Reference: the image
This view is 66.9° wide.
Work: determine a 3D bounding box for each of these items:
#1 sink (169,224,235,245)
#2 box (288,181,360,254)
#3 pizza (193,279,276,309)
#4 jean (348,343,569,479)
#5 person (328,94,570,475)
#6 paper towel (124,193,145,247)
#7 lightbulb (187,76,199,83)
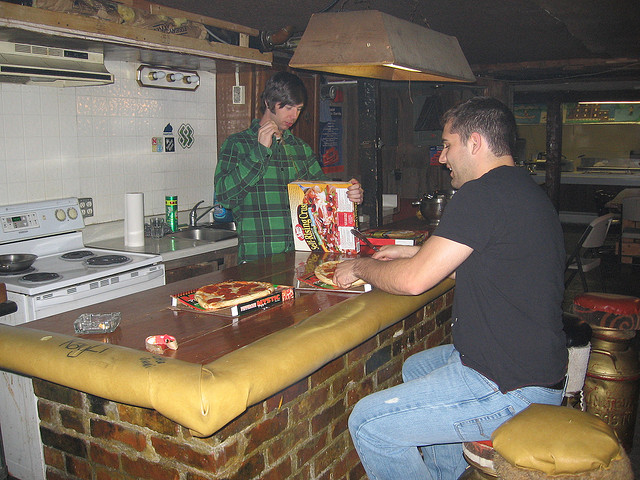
[{"bbox_3d":[-1.090,-0.046,4.356,0.240,0.105,0.298,6,9,35],"label":"sink"},{"bbox_3d":[0.041,-0.146,3.027,0.478,0.412,0.149,5,26,21],"label":"box"},{"bbox_3d":[-0.394,0.248,2.208,0.357,0.051,0.312,-8,11,-35],"label":"pizza"},{"bbox_3d":[0.538,0.849,2.169,0.806,0.745,0.520,-2,10,2],"label":"jean"},{"bbox_3d":[0.570,0.204,2.008,0.868,1.569,0.450,0,10,14],"label":"person"},{"bbox_3d":[-1.521,-0.162,3.952,0.166,0.426,0.197,13,15,37],"label":"paper towel"},{"bbox_3d":[-1.168,-1.483,4.481,0.026,0.060,0.116,3,10,29],"label":"lightbulb"}]
